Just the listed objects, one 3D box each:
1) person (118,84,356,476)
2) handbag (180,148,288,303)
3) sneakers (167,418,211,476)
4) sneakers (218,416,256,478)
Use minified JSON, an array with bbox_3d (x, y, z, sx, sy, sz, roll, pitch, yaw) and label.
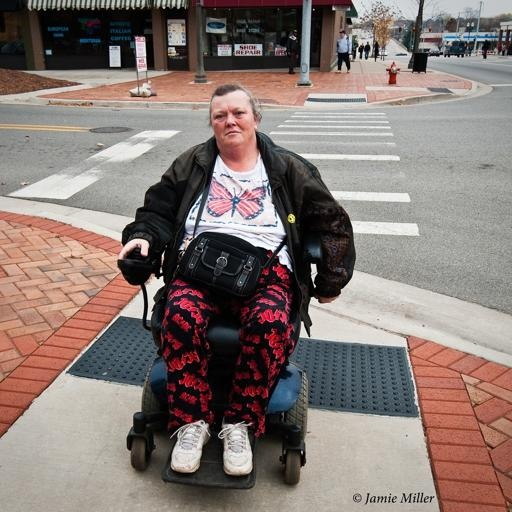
[{"bbox_3d":[-0.107,0.017,2.036,1.133,1.550,0.990,-7,18,-29],"label":"person"},{"bbox_3d":[-0.111,-0.123,1.973,0.411,0.655,0.241,5,-15,10],"label":"handbag"},{"bbox_3d":[-0.254,0.725,1.667,0.141,0.104,0.304,3,4,8],"label":"sneakers"},{"bbox_3d":[-0.079,0.723,1.664,0.119,0.105,0.302,6,16,-11],"label":"sneakers"}]
